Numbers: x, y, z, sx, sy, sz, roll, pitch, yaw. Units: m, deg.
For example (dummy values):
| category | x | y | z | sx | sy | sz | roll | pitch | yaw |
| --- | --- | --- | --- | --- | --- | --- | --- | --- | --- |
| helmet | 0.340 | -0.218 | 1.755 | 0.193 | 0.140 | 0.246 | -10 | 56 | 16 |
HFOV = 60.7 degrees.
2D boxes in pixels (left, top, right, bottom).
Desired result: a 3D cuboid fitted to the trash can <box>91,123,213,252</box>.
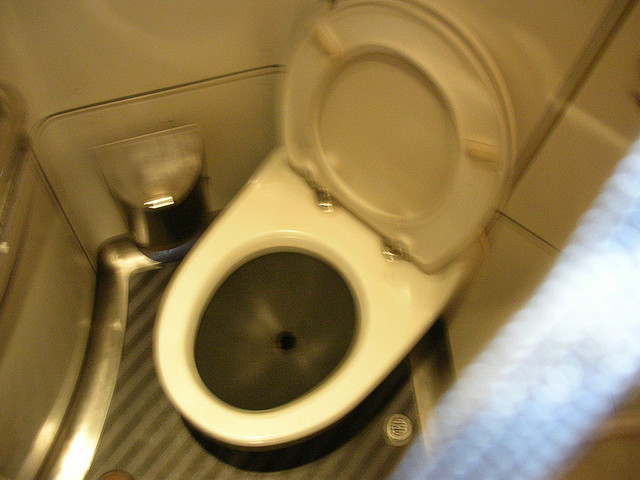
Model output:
| category | x | y | z | sx | sy | sz | roll | pitch | yaw |
| --- | --- | --- | --- | --- | --- | --- | --- | --- | --- |
| trash can | -0.421 | -0.142 | 1.357 | 0.167 | 0.350 | 0.195 | -19 | 95 | -9 |
